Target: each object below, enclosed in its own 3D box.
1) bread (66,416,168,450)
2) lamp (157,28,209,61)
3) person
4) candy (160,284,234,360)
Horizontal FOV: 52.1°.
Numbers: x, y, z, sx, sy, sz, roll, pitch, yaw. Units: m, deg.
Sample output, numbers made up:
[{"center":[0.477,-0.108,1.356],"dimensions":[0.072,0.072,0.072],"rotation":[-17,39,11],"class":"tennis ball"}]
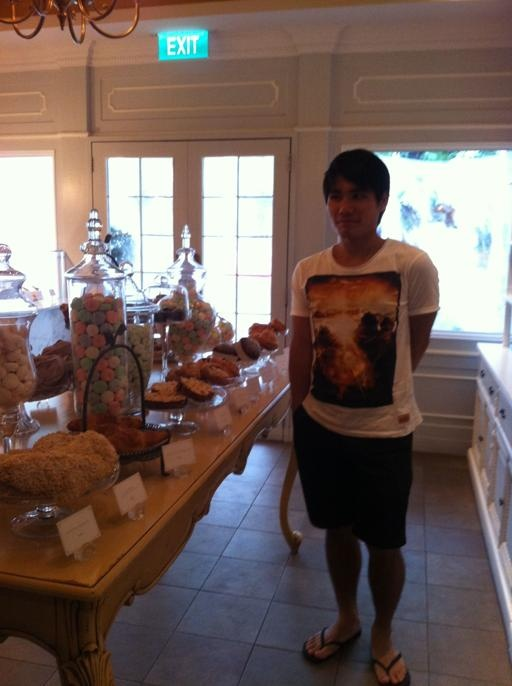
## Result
[{"center":[-0.284,0.186,1.098],"dimensions":[0.102,0.033,0.104],"rotation":[9,-1,37],"class":"bread"},{"center":[-0.560,-2.194,3.877],"dimensions":[0.420,0.177,0.146],"rotation":[3,6,20],"class":"lamp"},{"center":[0.303,0.254,1.570],"dimensions":[0.454,1.578,0.340],"rotation":[3,6,28],"class":"person"},{"center":[-0.239,-0.064,2.057],"dimensions":[0.247,0.317,0.283],"rotation":[-13,19,-35],"class":"candy"}]
